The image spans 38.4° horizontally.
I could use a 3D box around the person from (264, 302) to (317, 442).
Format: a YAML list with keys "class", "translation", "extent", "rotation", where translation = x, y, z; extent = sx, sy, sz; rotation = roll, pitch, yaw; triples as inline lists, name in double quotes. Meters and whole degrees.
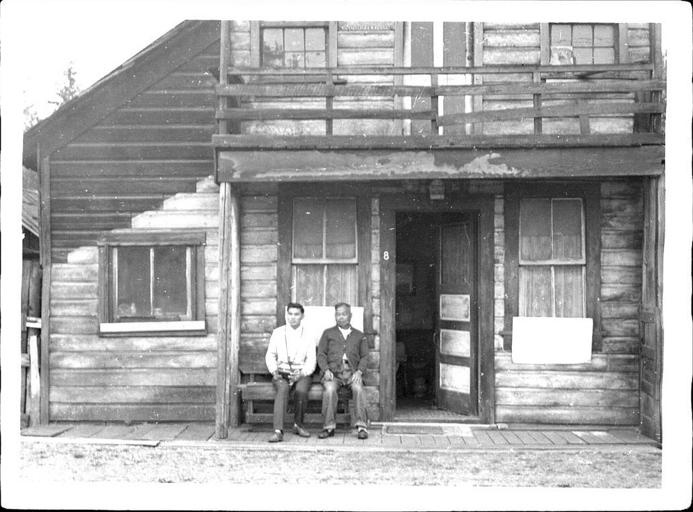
- class: "person"
  translation: [-0.782, 1.644, 14.054]
  extent: [0.702, 1.906, 0.588]
  rotation: [1, -3, -5]

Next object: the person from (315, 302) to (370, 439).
- class: "person"
  translation: [-0.052, 1.637, 14.235]
  extent: [0.729, 1.898, 0.599]
  rotation: [1, -3, -2]

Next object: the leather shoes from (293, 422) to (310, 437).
- class: "leather shoes"
  translation: [-0.653, 2.475, 14.073]
  extent: [0.115, 0.144, 0.336]
  rotation: [-2, -3, -34]

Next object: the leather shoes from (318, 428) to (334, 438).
- class: "leather shoes"
  translation: [-0.315, 2.495, 13.970]
  extent: [0.279, 0.120, 0.099]
  rotation: [9, -8, -36]

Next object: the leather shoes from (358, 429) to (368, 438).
- class: "leather shoes"
  translation: [0.242, 2.503, 14.044]
  extent: [0.165, 0.157, 0.272]
  rotation: [0, -2, 0]

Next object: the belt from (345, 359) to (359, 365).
- class: "belt"
  translation: [0.102, 1.546, 14.292]
  extent: [0.109, 0.078, 0.110]
  rotation: [1, -1, -8]

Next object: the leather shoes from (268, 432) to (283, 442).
- class: "leather shoes"
  translation: [-0.992, 2.512, 13.746]
  extent: [0.090, 0.104, 0.248]
  rotation: [-4, -10, 20]
